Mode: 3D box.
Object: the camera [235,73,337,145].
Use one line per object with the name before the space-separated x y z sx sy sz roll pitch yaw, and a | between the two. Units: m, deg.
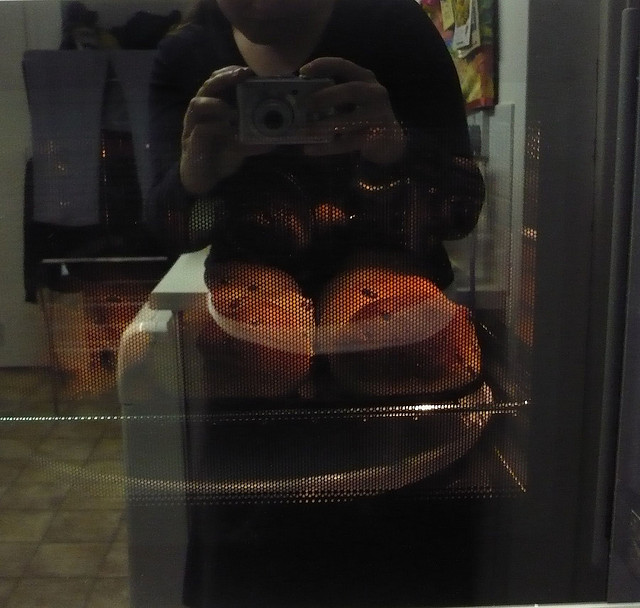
camera | -0.046 -0.258 1.003 0.147 0.090 0.083 0 19 -1
